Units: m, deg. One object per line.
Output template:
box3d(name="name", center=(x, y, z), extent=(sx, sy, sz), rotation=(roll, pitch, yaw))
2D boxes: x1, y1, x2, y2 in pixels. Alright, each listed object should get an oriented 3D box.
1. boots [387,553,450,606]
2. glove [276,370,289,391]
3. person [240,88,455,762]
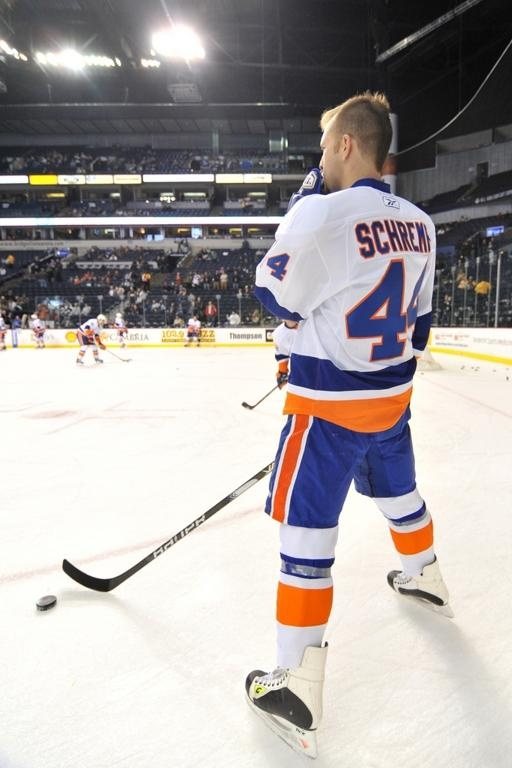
box3d(name="boots", center=(0.541, 0.656, 2.169), extent=(0.082, 0.156, 0.235), rotation=(-25, 22, -40))
box3d(name="glove", center=(0.100, -0.013, 2.378), extent=(0.025, 0.059, 0.039), rotation=(-1, 21, -24))
box3d(name="person", center=(0.243, 0.023, 1.791), extent=(0.313, 1.695, 0.782), rotation=(8, 15, 41))
